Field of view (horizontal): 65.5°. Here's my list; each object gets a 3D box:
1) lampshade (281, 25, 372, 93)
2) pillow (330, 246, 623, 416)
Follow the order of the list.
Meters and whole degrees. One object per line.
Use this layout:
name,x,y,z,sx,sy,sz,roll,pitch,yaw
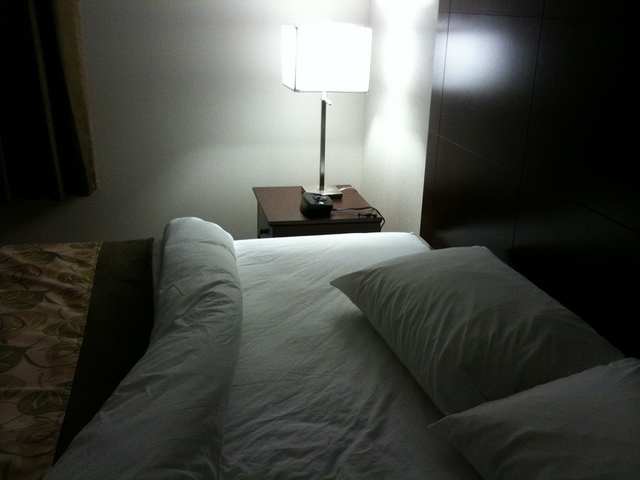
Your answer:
lampshade,0.163,-0.962,2.721,0.544,0.341,0.573,13,20,26
pillow,0.440,0.227,1.314,0.418,0.149,0.490,-15,26,-12
